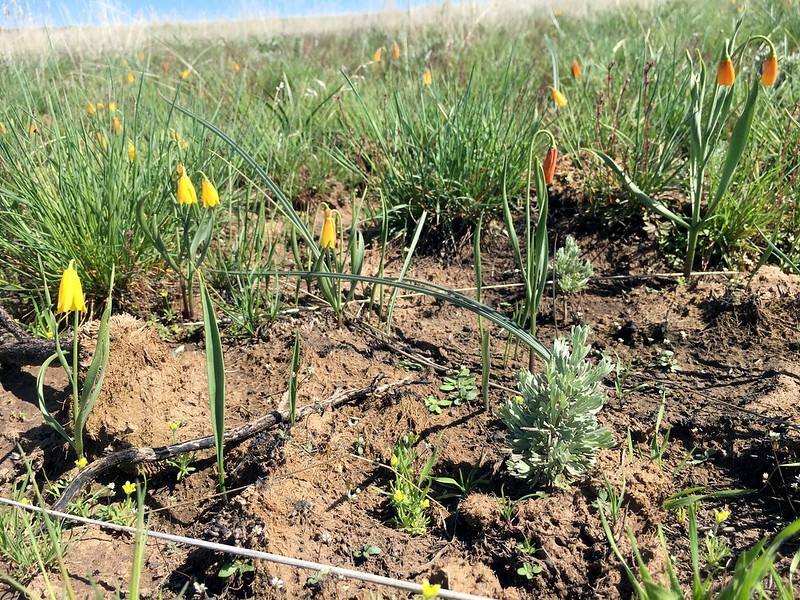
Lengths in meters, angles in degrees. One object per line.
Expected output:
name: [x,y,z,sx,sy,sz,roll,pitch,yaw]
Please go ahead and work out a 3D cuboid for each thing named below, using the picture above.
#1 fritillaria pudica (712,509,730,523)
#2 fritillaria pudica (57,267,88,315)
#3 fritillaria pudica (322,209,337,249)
fritillaria pudica: [1.497,1.007,3.585,0.055,0.049,0.064,17,1,-11]
fritillaria pudica: [-1.475,-0.087,3.444,0.114,0.257,0.111,-1,-2,19]
fritillaria pudica: [-0.381,-0.380,4.039,0.105,0.225,0.115,0,-3,5]
